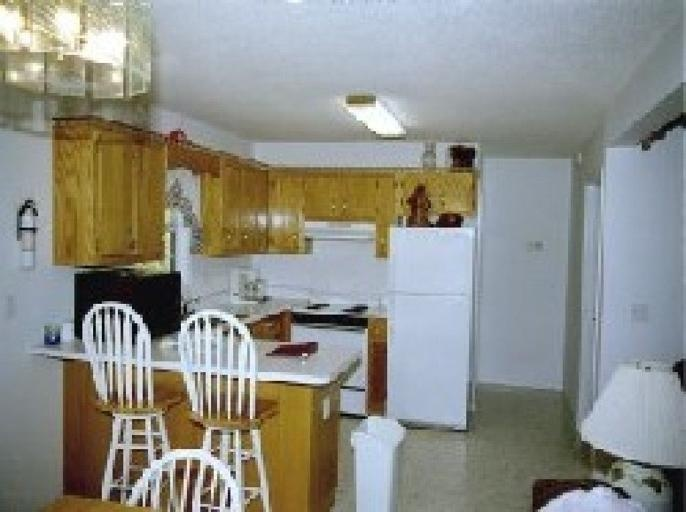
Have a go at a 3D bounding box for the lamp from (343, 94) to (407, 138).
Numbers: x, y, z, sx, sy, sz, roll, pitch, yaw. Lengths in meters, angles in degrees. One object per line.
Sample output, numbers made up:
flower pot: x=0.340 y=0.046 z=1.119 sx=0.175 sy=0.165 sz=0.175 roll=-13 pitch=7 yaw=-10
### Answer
lamp: x=0.179 y=-0.730 z=3.468 sx=0.326 sy=0.147 sz=0.227 roll=1 pitch=1 yaw=0

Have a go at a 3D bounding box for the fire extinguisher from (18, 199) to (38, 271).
fire extinguisher: x=-1.449 y=-0.104 z=3.015 sx=0.091 sy=0.327 sz=0.028 roll=0 pitch=1 yaw=-36
